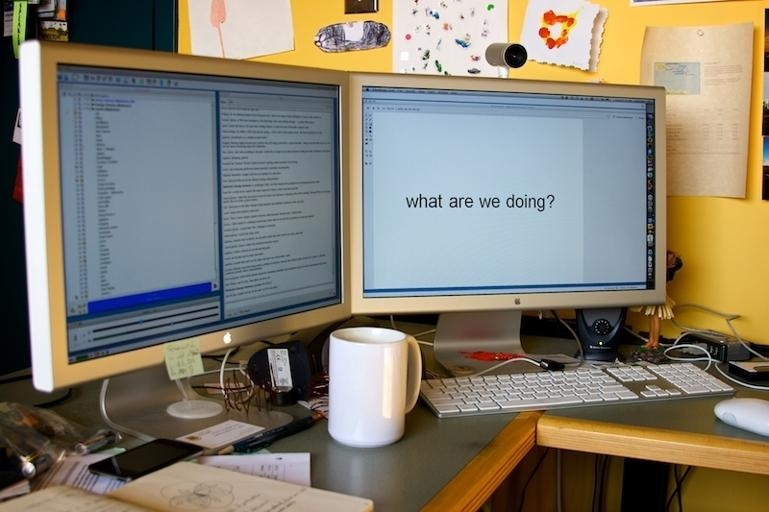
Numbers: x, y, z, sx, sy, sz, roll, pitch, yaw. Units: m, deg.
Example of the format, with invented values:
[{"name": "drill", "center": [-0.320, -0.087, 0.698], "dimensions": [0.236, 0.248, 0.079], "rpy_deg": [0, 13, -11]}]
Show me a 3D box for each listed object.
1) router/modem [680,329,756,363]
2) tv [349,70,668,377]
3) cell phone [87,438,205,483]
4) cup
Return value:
[{"name": "router/modem", "center": [0.833, 0.207, 1.400], "dimensions": [0.067, 0.031, 0.094], "rpy_deg": [1, 8, -17]}, {"name": "tv", "center": [0.275, -0.081, 1.290], "dimensions": [0.734, 0.629, 0.214], "rpy_deg": [-1, 0, -17]}, {"name": "cell phone", "center": [-0.376, 0.320, 0.898], "dimensions": [0.086, 0.015, 0.149], "rpy_deg": [6, 11, 35]}, {"name": "cup", "center": [-0.022, 0.228, 1.014], "dimensions": [0.165, 0.184, 0.104], "rpy_deg": [2, 13, 6]}]
